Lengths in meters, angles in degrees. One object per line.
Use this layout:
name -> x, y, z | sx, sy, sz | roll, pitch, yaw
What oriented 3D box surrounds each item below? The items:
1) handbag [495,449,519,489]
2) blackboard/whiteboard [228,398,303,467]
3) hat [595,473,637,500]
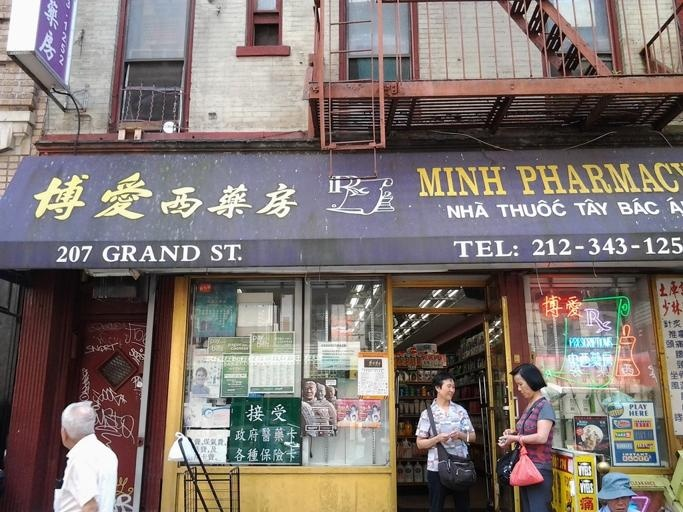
handbag -> 1.848, 2.379, 6.691 | 0.275, 0.397, 0.404 | 2, -34, 10
blackboard/whiteboard -> -0.978, 2.350, 7.796 | 0.818, 0.742, 0.092 | 0, -19, 2
hat -> 2.501, 2.101, 5.421 | 0.243, 0.167, 0.295 | 2, -20, -33
